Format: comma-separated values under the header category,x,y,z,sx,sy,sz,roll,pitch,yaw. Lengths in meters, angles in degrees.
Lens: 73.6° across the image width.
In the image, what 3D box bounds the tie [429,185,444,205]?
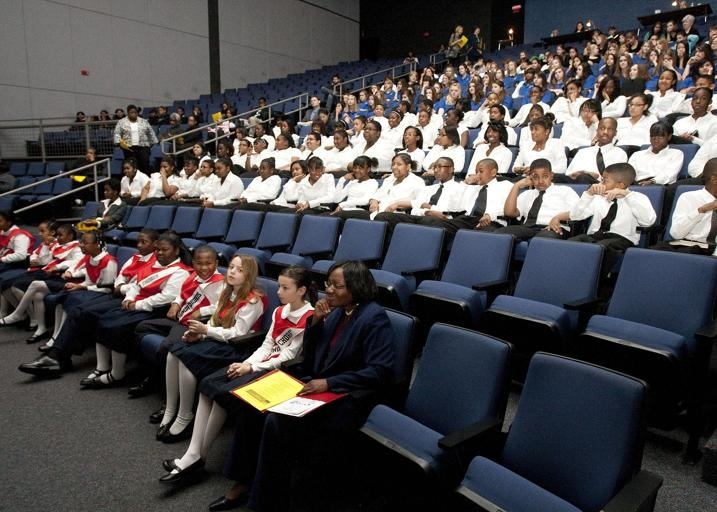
category,x,y,z,sx,sy,sz,roll,pitch,yaw
tie,0.844,-0.657,5.256,0.133,0.245,0.059,8,-24,48

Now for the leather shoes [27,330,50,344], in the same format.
category,x,y,z,sx,sy,sz,roll,pitch,yaw
leather shoes,-3.127,0.795,4.730,0.081,0.095,0.243,2,4,37

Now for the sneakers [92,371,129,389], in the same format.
category,x,y,z,sx,sy,sz,roll,pitch,yaw
sneakers,-1.976,0.989,3.840,0.263,0.096,0.094,4,4,-27

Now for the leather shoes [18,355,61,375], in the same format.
category,x,y,z,sx,sy,sz,roll,pitch,yaw
leather shoes,-2.551,0.893,3.904,0.384,0.151,0.138,11,-14,-39

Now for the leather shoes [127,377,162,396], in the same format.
category,x,y,z,sx,sy,sz,roll,pitch,yaw
leather shoes,-1.639,1.007,3.753,0.096,0.119,0.282,6,7,34

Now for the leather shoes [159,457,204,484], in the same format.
category,x,y,z,sx,sy,sz,roll,pitch,yaw
leather shoes,-1.027,1.245,2.835,0.189,0.075,0.149,9,-2,-28

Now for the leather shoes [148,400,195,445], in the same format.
category,x,y,z,sx,sy,sz,roll,pitch,yaw
leather shoes,-1.223,1.093,3.164,0.221,0.068,0.220,9,6,44

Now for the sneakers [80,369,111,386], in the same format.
category,x,y,z,sx,sy,sz,roll,pitch,yaw
sneakers,-2.081,0.955,3.809,0.113,0.086,0.222,-4,-8,43

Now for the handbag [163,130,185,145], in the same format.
category,x,y,z,sx,sy,sz,roll,pitch,yaw
handbag,-3.737,-2.397,9.697,0.444,0.193,0.251,16,39,41
